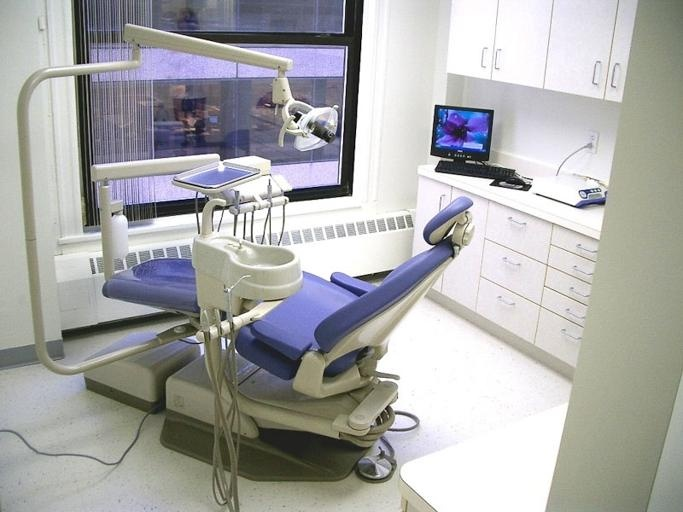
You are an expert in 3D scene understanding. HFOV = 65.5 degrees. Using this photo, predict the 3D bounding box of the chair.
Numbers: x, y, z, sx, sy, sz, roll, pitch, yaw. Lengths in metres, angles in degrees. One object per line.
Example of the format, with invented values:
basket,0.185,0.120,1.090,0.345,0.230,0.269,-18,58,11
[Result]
chair,-0.155,0.283,2.654,1.335,1.335,1.077,13,16,23

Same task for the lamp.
lamp,-0.724,-0.233,2.521,1.232,1.575,0.803,0,17,2
